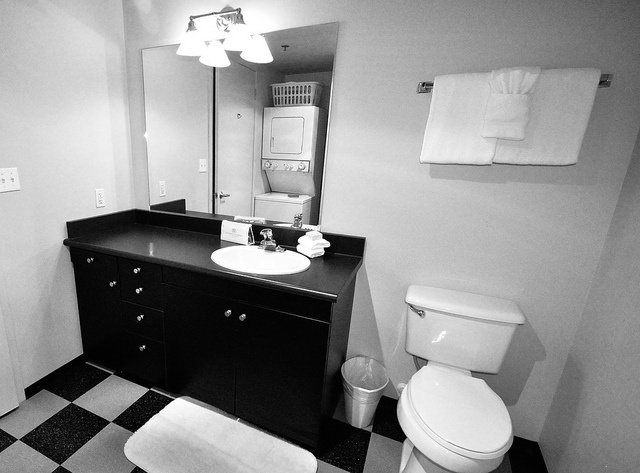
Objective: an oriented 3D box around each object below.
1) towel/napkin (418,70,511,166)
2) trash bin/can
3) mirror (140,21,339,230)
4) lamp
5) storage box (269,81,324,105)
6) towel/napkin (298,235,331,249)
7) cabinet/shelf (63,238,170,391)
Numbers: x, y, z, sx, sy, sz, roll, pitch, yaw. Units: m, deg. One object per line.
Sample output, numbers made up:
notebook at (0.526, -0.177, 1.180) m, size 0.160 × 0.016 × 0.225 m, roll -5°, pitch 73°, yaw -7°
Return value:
towel/napkin at (0.744, -0.618, 2.555) m, size 0.390 × 0.470 × 0.128 m, roll 3°, pitch 12°, yaw 21°
trash bin/can at (0.245, 0.929, 2.973) m, size 0.360 × 0.391 × 0.372 m, roll -3°, pitch 11°, yaw -18°
mirror at (-0.460, -0.735, 2.975) m, size 1.193 × 1.285 × 0.144 m, roll 9°, pitch 18°, yaw 18°
lamp at (-0.563, -1.202, 2.879) m, size 0.604 × 0.345 × 0.305 m, roll 6°, pitch 18°, yaw 1°
storage box at (-0.128, -0.848, 2.885) m, size 0.213 × 0.090 × 0.163 m, roll 1°, pitch 10°, yaw 10°
towel/napkin at (-0.025, 0.033, 2.874) m, size 0.103 × 0.036 × 0.107 m, roll -8°, pitch 19°, yaw -29°
cabinet/shelf at (-1.240, 0.464, 2.933) m, size 0.804 × 0.773 × 0.313 m, roll 10°, pitch 18°, yaw 25°
